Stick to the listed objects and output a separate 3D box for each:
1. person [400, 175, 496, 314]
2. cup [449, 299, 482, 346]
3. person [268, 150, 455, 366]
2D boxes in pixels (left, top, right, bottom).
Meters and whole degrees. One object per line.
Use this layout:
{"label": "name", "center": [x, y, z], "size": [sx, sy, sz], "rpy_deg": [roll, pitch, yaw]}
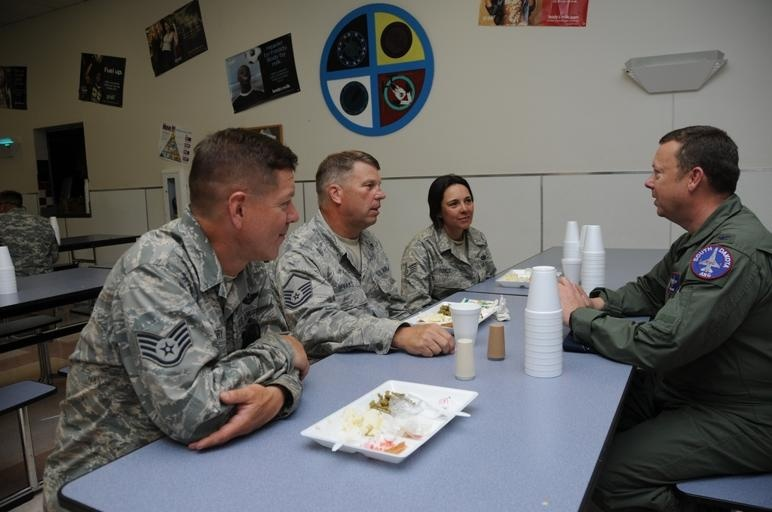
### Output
{"label": "person", "center": [0.501, -0.105, 3.646], "size": [1.080, 0.957, 0.579], "rpy_deg": [-11, 12, -41]}
{"label": "cup", "center": [0.327, 0.283, 2.073], "size": [0.141, 0.154, 0.142], "rpy_deg": [-2, 2, 0]}
{"label": "person", "center": [-0.184, -0.119, 2.729], "size": [0.964, 1.346, 1.078], "rpy_deg": [-4, 2, 15]}
